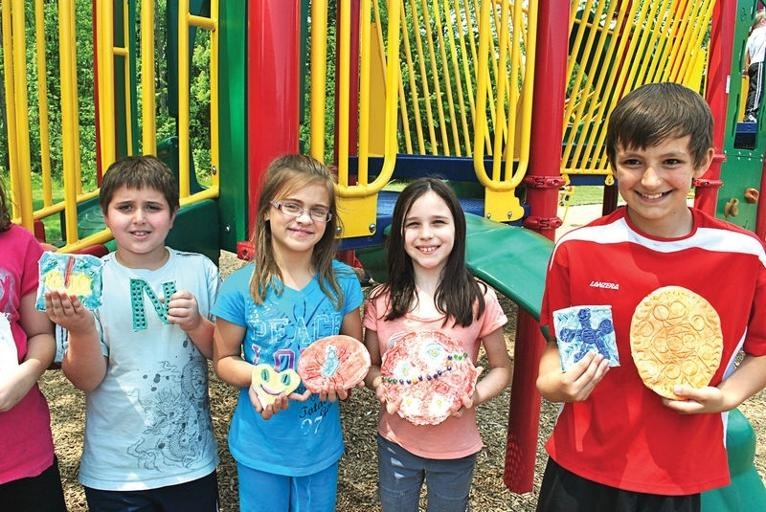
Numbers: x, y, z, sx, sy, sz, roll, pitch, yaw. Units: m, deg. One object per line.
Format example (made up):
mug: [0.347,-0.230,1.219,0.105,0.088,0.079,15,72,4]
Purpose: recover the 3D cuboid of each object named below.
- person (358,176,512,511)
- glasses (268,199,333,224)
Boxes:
person: [0.239,0.413,2.651,0.631,1.449,0.475,0,12,-2]
glasses: [-0.346,-0.194,2.593,0.240,0.087,0.076,-2,13,-11]
